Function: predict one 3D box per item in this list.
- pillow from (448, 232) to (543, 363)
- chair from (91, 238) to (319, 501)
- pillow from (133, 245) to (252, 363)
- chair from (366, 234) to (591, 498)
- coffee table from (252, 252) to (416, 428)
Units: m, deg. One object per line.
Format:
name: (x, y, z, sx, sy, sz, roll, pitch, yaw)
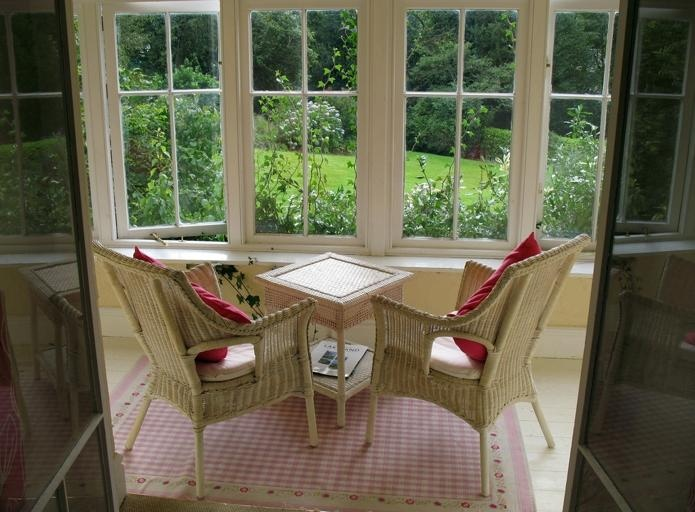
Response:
pillow: (0.616, 0.192, 2.569, 0.337, 0.544, 0.462, 8, 18, 27)
chair: (-0.662, 0.430, 2.745, 0.816, 1.022, 0.747, -10, 18, -40)
pillow: (-0.676, 0.227, 2.537, 0.336, 0.487, 0.469, -15, 22, -40)
chair: (0.579, 0.405, 2.790, 0.904, 1.044, 0.851, 7, 16, 27)
coffee table: (-0.111, 0.340, 3.286, 0.834, 0.858, 0.790, 10, 14, 42)
